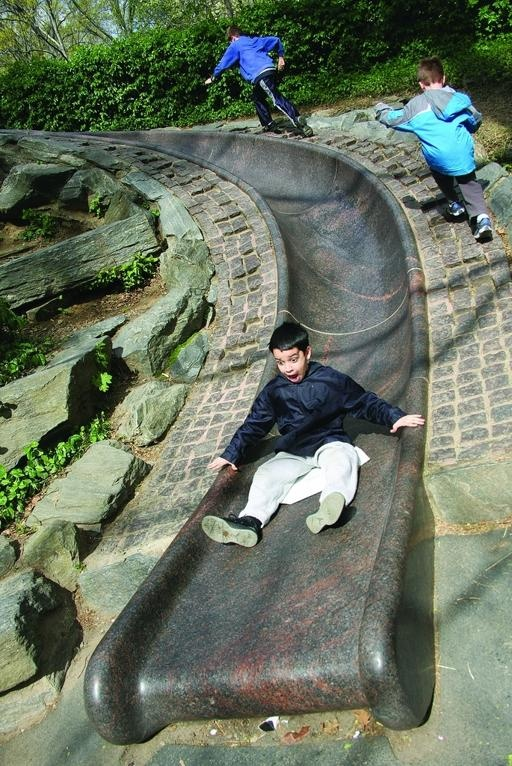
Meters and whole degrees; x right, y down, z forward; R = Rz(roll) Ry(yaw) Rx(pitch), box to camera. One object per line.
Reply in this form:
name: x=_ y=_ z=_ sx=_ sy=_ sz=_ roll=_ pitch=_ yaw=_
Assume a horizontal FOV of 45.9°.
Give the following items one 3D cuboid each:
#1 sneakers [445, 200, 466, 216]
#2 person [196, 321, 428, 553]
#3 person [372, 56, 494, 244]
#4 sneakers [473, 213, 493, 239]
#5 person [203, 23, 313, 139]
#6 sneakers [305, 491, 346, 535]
sneakers: x=1.476 y=-1.300 z=4.479 sx=0.066 sy=0.078 sz=0.182 roll=-40 pitch=5 yaw=9
person: x=0.156 y=0.179 z=2.819 sx=1.112 sy=0.849 sz=0.908 roll=-9 pitch=11 yaw=19
person: x=1.376 y=-1.701 z=4.288 sx=0.502 sy=1.096 sz=1.120 roll=-25 pitch=32 yaw=-11
sneakers: x=1.545 y=-1.065 z=4.099 sx=0.100 sy=0.114 sz=0.246 roll=-21 pitch=11 yaw=19
person: x=0.079 y=-4.025 z=8.043 sx=0.916 sy=1.426 sz=1.074 roll=-16 pitch=31 yaw=4
sneakers: x=0.283 y=0.545 z=2.515 sx=0.203 sy=0.052 sz=0.122 roll=-49 pitch=43 yaw=24
